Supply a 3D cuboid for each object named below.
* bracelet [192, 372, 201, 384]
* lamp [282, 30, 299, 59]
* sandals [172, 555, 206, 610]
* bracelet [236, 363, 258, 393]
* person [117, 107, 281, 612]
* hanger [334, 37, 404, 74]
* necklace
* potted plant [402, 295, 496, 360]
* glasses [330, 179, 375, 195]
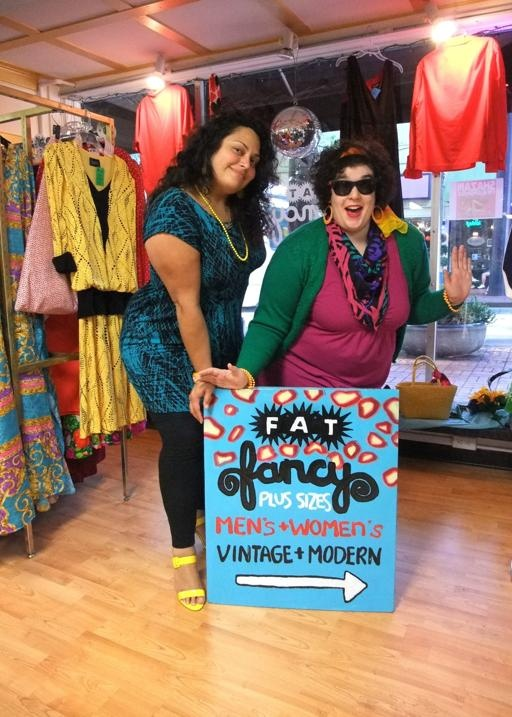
[{"bbox_3d":[-0.168,0.050,1.563,0.011,0.028,0.037,33,20,-19],"label":"bracelet"},{"bbox_3d":[0.194,-1.774,3.176,0.075,0.136,0.293,0,7,11],"label":"lamp"},{"bbox_3d":[-0.198,0.692,1.723,0.064,0.077,0.202,-4,6,-26],"label":"sandals"},{"bbox_3d":[-0.026,0.053,1.568,0.059,0.060,0.059,-3,7,-16],"label":"bracelet"},{"bbox_3d":[-0.146,0.014,1.730,0.472,1.471,0.334,-5,8,-33],"label":"person"},{"bbox_3d":[0.647,-1.711,3.124,0.330,0.124,0.027,18,0,22],"label":"hanger"},{"bbox_3d":[-0.091,-0.389,1.618,0.036,0.205,0.127,-28,11,27],"label":"necklace"},{"bbox_3d":[1.182,-0.209,3.297,0.454,0.163,0.436,15,41,30],"label":"potted plant"},{"bbox_3d":[0.274,-0.486,1.578,0.120,0.049,0.036,0,7,8],"label":"glasses"}]
